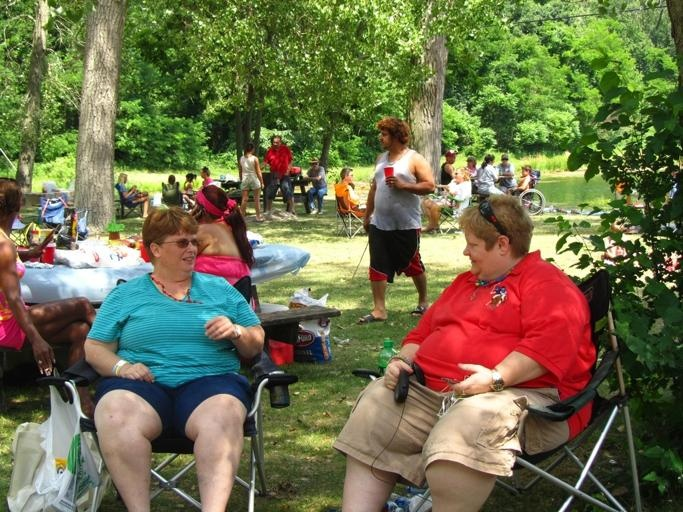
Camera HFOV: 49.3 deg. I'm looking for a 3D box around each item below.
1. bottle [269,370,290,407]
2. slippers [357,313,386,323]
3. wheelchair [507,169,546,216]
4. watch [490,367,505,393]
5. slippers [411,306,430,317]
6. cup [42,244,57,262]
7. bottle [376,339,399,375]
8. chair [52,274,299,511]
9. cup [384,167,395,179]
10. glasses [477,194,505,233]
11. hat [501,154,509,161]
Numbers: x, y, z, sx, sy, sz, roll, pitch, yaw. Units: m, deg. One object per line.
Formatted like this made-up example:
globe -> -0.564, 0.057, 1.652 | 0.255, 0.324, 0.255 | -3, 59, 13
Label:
bottle -> -0.341, 0.724, 4.008 | 0.110, 0.170, 0.109 | -1, -4, 0
slippers -> 0.295, 0.630, 7.510 | 0.277, 0.107, 0.100 | 2, -4, -12
wheelchair -> 4.641, -1.880, 19.013 | 1.067, 1.205, 0.706 | -1, -7, 18
watch -> 0.761, 0.620, 3.650 | 0.059, 0.089, 0.093 | -3, -15, 20
slippers -> 0.798, 0.569, 7.658 | 0.099, 0.078, 0.257 | -2, 0, 16
cup -> -2.626, -0.029, 6.691 | 0.174, 0.169, 0.172 | 1, 2, 0
bottle -> 0.356, 0.781, 5.754 | 0.116, 0.270, 0.113 | 3, -33, 2
chair -> -0.775, 0.838, 4.210 | 1.123, 1.225, 0.920 | 0, -15, 0
cup -> 0.453, -0.808, 7.204 | 0.102, 0.076, 0.102 | 1, -6, 0
glasses -> 0.816, -0.224, 3.916 | 0.064, 0.178, 0.129 | -44, 0, -3
hat -> 4.189, -2.542, 19.173 | 0.156, 0.094, 0.237 | 2, 9, 4
